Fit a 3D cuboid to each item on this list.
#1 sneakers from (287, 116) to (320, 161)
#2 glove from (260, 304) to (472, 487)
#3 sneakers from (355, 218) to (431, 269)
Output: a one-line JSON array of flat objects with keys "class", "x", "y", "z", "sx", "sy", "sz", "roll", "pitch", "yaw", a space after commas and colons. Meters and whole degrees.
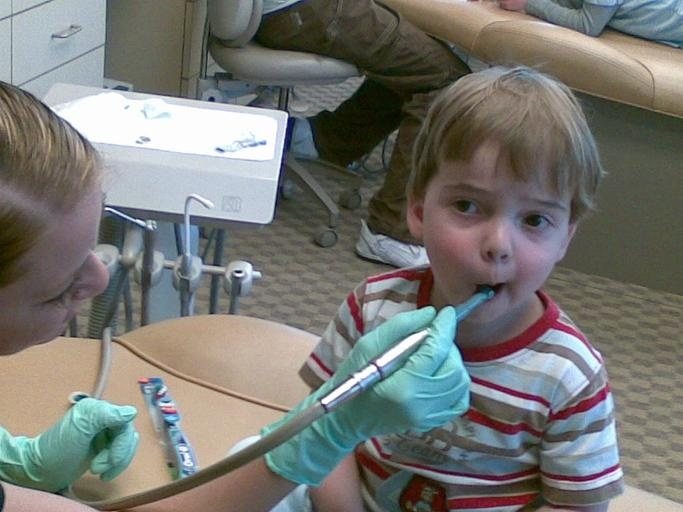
[{"class": "sneakers", "x": -0.170, "y": -0.515, "z": 2.851, "sx": 0.139, "sy": 0.199, "sz": 0.064, "roll": 6, "pitch": 8, "yaw": 5}, {"class": "glove", "x": 0.054, "y": 0.237, "z": 0.915, "sx": 0.185, "sy": 0.305, "sz": 0.090, "roll": 44, "pitch": 7, "yaw": 33}, {"class": "sneakers", "x": 0.213, "y": -0.041, "z": 2.386, "sx": 0.319, "sy": 0.145, "sz": 0.110, "roll": 13, "pitch": 28, "yaw": 12}]
